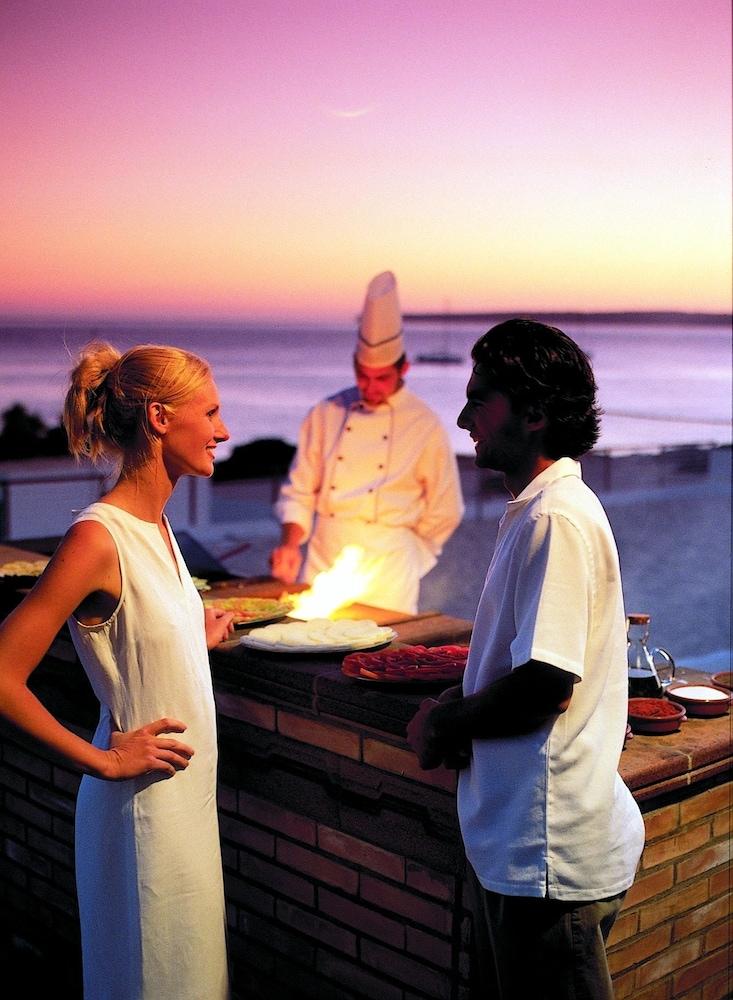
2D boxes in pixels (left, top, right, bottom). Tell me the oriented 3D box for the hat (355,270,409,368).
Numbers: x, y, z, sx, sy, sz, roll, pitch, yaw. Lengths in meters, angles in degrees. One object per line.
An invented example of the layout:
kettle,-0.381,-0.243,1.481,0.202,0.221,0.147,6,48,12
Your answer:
hat,0.047,-0.687,4.792,0.170,0.364,0.333,1,6,5
